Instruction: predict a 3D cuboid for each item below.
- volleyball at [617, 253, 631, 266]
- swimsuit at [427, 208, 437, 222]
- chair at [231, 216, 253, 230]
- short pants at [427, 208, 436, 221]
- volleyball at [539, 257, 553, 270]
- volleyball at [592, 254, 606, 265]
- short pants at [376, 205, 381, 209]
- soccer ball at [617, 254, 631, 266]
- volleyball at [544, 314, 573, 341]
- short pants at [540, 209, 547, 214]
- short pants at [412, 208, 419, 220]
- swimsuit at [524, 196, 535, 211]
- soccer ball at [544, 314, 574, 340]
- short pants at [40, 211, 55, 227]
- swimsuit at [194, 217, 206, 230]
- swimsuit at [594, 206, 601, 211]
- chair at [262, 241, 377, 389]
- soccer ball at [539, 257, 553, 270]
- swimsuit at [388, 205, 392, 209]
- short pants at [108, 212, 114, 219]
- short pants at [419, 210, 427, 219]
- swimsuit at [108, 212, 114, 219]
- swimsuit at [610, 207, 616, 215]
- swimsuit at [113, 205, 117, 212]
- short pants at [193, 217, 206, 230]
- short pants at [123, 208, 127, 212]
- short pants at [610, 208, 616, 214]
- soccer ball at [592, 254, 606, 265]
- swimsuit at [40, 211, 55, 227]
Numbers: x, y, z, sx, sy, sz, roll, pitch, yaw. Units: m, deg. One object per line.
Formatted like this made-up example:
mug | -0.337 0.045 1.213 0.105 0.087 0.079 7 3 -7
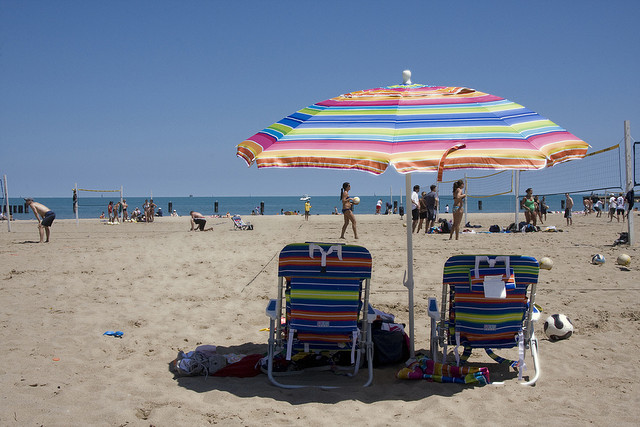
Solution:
volleyball | 5.706 0.867 13.397 0.227 0.230 0.182 -16 23 -35
swimsuit | 3.215 0.040 20.009 0.411 0.298 0.537 1 5 5
chair | -2.723 0.335 24.326 0.682 0.449 0.444 0 4 38
short pants | 3.096 0.034 19.965 0.198 0.334 0.568 1 -3 8
volleyball | 4.153 0.951 13.096 0.281 0.197 0.285 -3 -19 13
volleyball | 5.343 0.869 13.655 0.181 0.183 0.178 -30 36 -12
short pants | 2.510 -0.261 30.903 0.177 0.139 0.186 -1 7 4
soccer ball | 5.705 0.883 13.406 0.208 0.201 0.317 1 -3 22
volleyball | 3.270 1.568 9.858 0.344 0.345 0.342 -2 -5 -24
short pants | 8.862 -0.041 28.282 0.187 0.245 0.315 -12 10 17
short pants | 2.645 0.005 19.919 0.165 0.323 0.347 3 -3 -26
swimsuit | 5.906 -0.307 20.156 0.344 0.448 0.246 -1 -1 2
soccer ball | 3.274 1.567 9.865 0.335 0.338 0.337 -4 -4 0
short pants | -7.040 0.142 18.379 0.279 0.413 0.572 2 -3 -16
swimsuit | -3.867 0.337 22.960 0.377 0.397 0.379 3 0 -25
swimsuit | 13.794 -0.241 35.488 0.366 0.162 0.499 -1 -3 -2
chair | 0.054 1.331 9.712 1.708 1.766 2.452 2 -3 -3
soccer ball | 4.174 0.891 13.179 0.291 0.204 0.296 2 -26 1
swimsuit | 4.294 -0.414 43.939 0.221 0.236 0.227 6 -11 12
short pants | -8.808 0.089 29.931 0.156 0.273 0.342 3 -3 -19
short pants | 2.858 0.032 19.790 0.173 0.184 0.170 2 -10 -17
swimsuit | -8.813 0.071 29.903 0.161 0.201 0.147 4 5 8
swimsuit | 10.409 -0.077 25.374 0.217 0.232 0.218 8 11 29
swimsuit | -8.694 -0.208 30.051 0.060 0.232 0.251 3 4 -4
short pants | -3.840 0.275 22.959 0.363 0.377 0.406 13 18 35
short pants | -8.724 -0.154 31.681 0.091 0.111 0.158 -5 -2 33
short pants | 10.414 -0.100 25.390 0.178 0.189 0.181 3 -5 -3
soccer ball | 5.355 0.927 13.725 0.191 0.189 0.193 -18 -39 -15
swimsuit | -7.028 0.141 18.337 0.279 0.413 0.486 2 -3 -16
